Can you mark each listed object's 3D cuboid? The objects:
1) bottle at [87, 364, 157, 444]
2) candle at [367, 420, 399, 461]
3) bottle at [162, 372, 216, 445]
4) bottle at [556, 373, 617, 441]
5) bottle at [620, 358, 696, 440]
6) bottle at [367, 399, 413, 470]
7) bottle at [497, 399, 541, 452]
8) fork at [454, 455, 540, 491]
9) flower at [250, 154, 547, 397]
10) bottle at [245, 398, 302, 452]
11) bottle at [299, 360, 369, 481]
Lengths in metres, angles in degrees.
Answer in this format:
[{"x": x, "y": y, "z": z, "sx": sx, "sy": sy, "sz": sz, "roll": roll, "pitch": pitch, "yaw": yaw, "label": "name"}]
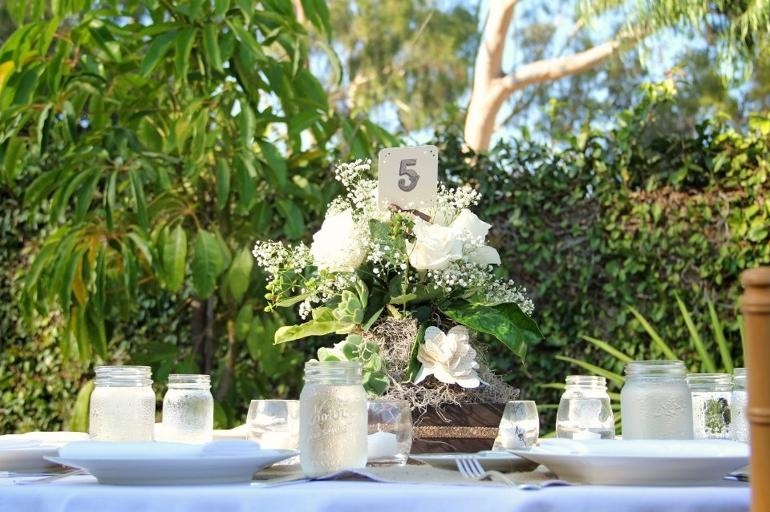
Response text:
[{"x": -0.925, "y": 0.473, "z": 3.542, "sx": 0.237, "sy": 0.290, "sz": 0.186, "roll": 3, "pitch": 3, "yaw": 2, "label": "bottle"}, {"x": -0.025, "y": 0.587, "z": 3.385, "sx": 0.091, "sy": 0.078, "sz": 0.099, "roll": -2, "pitch": -4, "yaw": 22, "label": "candle"}, {"x": -0.677, "y": 0.501, "z": 3.493, "sx": 0.185, "sy": 0.320, "sz": 0.194, "roll": 0, "pitch": -11, "yaw": 0, "label": "bottle"}, {"x": 0.685, "y": 0.514, "z": 3.563, "sx": 0.174, "sy": 0.223, "sz": 0.179, "roll": 1, "pitch": -6, "yaw": 0, "label": "bottle"}, {"x": 0.906, "y": 0.436, "z": 3.519, "sx": 0.194, "sy": 0.330, "sz": 0.213, "roll": -8, "pitch": 31, "yaw": 5, "label": "bottle"}, {"x": 0.004, "y": 0.543, "z": 3.464, "sx": 0.153, "sy": 0.177, "sz": 0.168, "roll": 5, "pitch": -1, "yaw": 5, "label": "bottle"}, {"x": 0.444, "y": 0.557, "z": 3.577, "sx": 0.147, "sy": 0.169, "sz": 0.159, "roll": -6, "pitch": 10, "yaw": -8, "label": "bottle"}, {"x": 0.309, "y": 0.634, "z": 3.270, "sx": 0.077, "sy": 0.095, "sz": 0.589, "roll": 0, "pitch": -1, "yaw": -17, "label": "fork"}, {"x": 0.147, "y": 0.111, "z": 3.766, "sx": 0.565, "sy": 0.622, "sz": 0.661, "roll": -4, "pitch": 18, "yaw": -8, "label": "flower"}, {"x": -0.393, "y": 0.541, "z": 3.470, "sx": 0.148, "sy": 0.168, "sz": 0.161, "roll": 1, "pitch": -6, "yaw": -6, "label": "bottle"}, {"x": -0.188, "y": 0.501, "z": 3.313, "sx": 0.272, "sy": 0.518, "sz": 0.288, "roll": 0, "pitch": -11, "yaw": 0, "label": "bottle"}]
